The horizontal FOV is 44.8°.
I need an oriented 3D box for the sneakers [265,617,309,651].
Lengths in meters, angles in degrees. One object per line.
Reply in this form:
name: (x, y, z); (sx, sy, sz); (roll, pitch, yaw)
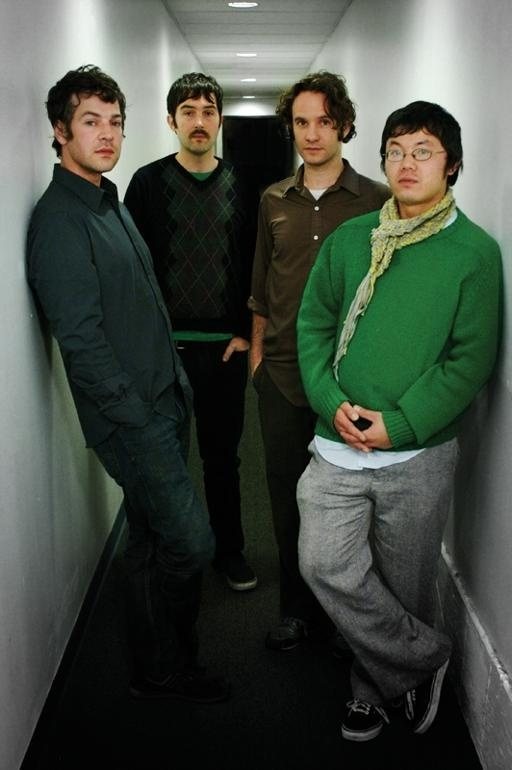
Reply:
sneakers: (0.089, 0.791, 1.979); (0.068, 0.051, 0.126); (4, 20, 32)

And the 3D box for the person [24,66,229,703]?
person: (-0.382, 0.015, 1.752); (0.446, 1.717, 0.523); (-5, 10, -20)

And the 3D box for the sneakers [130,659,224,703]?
sneakers: (-0.235, 0.854, 1.811); (0.274, 0.105, 0.093); (-1, 4, 2)

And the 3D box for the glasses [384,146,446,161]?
glasses: (0.352, -0.514, 1.390); (0.126, 0.041, 0.036); (4, 11, 27)

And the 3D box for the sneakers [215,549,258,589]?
sneakers: (-0.080, 0.717, 2.411); (0.075, 0.086, 0.214); (-6, 1, -20)

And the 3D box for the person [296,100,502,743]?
person: (0.326, 0.127, 1.539); (0.509, 1.554, 0.328); (1, 10, 14)

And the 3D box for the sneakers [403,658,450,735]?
sneakers: (0.438, 0.839, 1.629); (0.064, 0.176, 0.061); (19, 30, -6)
